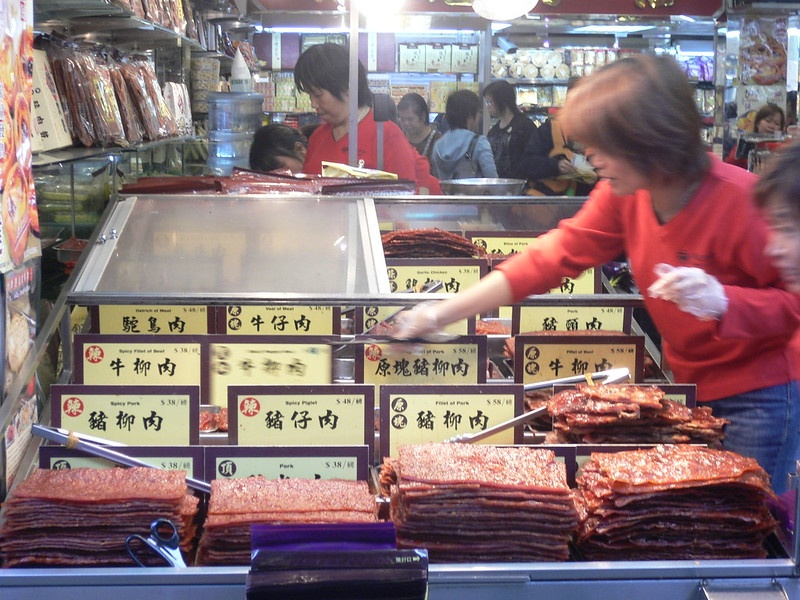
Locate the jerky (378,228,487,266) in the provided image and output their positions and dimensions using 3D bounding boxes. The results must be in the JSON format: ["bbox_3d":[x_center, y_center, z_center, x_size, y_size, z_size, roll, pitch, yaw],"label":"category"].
[{"bbox_3d":[0.097,-0.195,2.962,0.438,0.126,0.131,4,8,-7],"label":"jerky"}]
